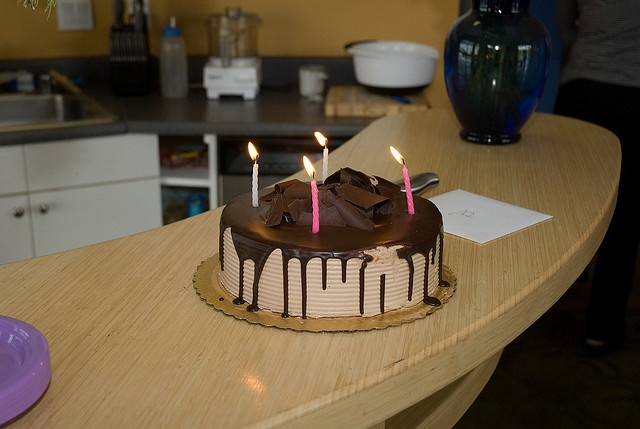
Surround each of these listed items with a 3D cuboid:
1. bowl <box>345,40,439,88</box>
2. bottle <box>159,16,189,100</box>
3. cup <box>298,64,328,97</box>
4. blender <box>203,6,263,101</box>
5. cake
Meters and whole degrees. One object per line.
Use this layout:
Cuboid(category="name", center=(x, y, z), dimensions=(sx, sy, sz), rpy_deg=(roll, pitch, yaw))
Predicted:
Cuboid(category="bowl", center=(0.398, -0.791, 2.881), dimensions=(0.514, 0.214, 0.568), rpy_deg=(-2, 10, -6))
Cuboid(category="bottle", center=(-0.794, -0.835, 2.793), dimensions=(0.149, 0.388, 0.233), rpy_deg=(-8, 29, -15))
Cuboid(category="cup", center=(-0.078, -0.713, 2.807), dimensions=(0.185, 0.175, 0.139), rpy_deg=(-6, 18, -31))
Cuboid(category="blender", center=(-0.474, -0.884, 2.854), dimensions=(0.309, 0.429, 0.358), rpy_deg=(-2, 29, -5))
Cuboid(category="cake", center=(0.007, 0.037, 1.224), dimensions=(0.476, 0.268, 0.483), rpy_deg=(8, 15, 35))
